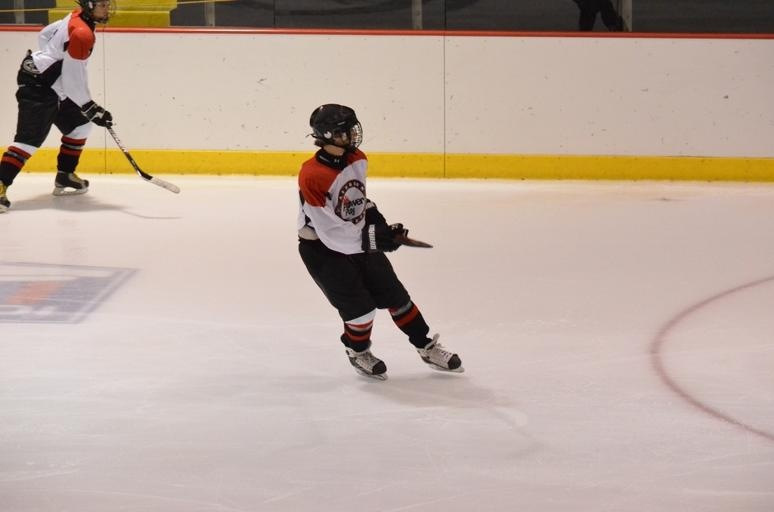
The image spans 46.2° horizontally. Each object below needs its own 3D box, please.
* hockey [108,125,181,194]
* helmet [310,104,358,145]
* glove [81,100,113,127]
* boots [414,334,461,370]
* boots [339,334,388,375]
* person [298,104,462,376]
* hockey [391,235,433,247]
[{"bbox_3d":[-2.210,-0.880,8.206,0.906,0.134,0.100,45,27,13],"label":"hockey"},{"bbox_3d":[-0.285,-0.678,4.787,0.322,0.194,0.210,-1,24,-4],"label":"helmet"},{"bbox_3d":[-2.268,-1.101,7.170,0.267,0.150,0.104,37,-20,-19],"label":"glove"},{"bbox_3d":[0.288,0.519,4.887,0.119,0.130,0.321,-4,4,-39],"label":"boots"},{"bbox_3d":[-0.118,0.550,4.867,0.326,0.126,0.106,31,53,19],"label":"boots"},{"bbox_3d":[-0.122,-0.061,4.773,0.501,1.382,0.806,-16,30,-35],"label":"person"},{"bbox_3d":[0.139,-0.082,5.167,0.232,0.046,0.045,16,-2,27],"label":"hockey"}]
